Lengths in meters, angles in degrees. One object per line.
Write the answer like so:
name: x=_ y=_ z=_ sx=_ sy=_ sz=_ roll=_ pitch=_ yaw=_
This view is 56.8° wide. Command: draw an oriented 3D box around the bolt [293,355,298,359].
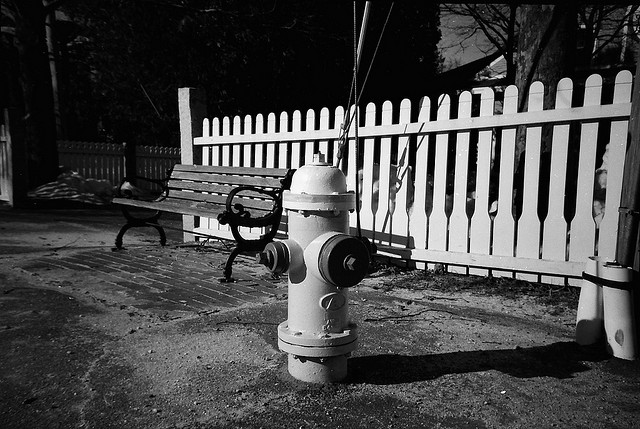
bolt: x=-0.242 y=1.366 z=5.665 sx=0.035 sy=0.035 sz=0.035 roll=2 pitch=-2 yaw=-24

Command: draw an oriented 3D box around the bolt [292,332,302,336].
bolt: x=-0.225 y=1.134 z=5.612 sx=0.077 sy=0.026 sz=0.053 roll=4 pitch=8 yaw=10

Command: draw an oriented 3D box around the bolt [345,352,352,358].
bolt: x=0.270 y=1.355 z=5.696 sx=0.056 sy=0.015 sz=0.060 roll=-2 pitch=4 yaw=6

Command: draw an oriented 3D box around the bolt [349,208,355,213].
bolt: x=0.302 y=-0.031 z=5.809 sx=0.034 sy=0.035 sz=0.033 roll=6 pitch=10 yaw=34

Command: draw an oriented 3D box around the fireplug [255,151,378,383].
fireplug: x=-0.018 y=0.511 z=5.694 sx=0.971 sy=2.157 sz=0.497 roll=3 pitch=8 yaw=3

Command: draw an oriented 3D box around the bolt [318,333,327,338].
bolt: x=0.024 y=1.142 z=5.580 sx=0.077 sy=0.033 sz=0.034 roll=2 pitch=8 yaw=-1
